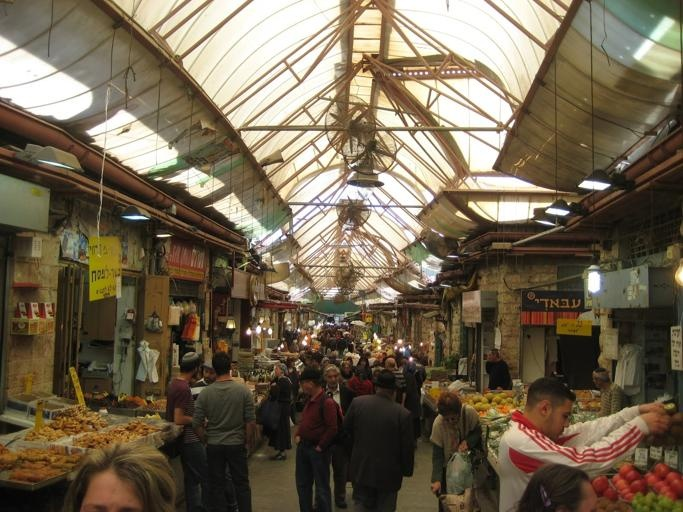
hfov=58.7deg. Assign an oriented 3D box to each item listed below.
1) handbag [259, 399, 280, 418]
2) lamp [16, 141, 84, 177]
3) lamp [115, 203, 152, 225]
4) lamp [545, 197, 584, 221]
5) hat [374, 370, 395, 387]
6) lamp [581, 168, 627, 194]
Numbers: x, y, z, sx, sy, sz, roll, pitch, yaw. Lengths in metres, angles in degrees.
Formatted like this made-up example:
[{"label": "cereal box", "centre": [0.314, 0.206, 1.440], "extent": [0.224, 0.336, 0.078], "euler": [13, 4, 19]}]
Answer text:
[{"label": "handbag", "centre": [-1.172, 2.531, 10.078], "extent": [0.321, 0.442, 0.241], "euler": [4, -22, -5]}, {"label": "lamp", "centre": [-2.993, -0.980, 6.147], "extent": [0.534, 0.211, 0.323], "euler": [3, -4, 21]}, {"label": "lamp", "centre": [-2.586, -0.518, 7.700], "extent": [0.286, 0.149, 0.431], "euler": [1, -7, 6]}, {"label": "lamp", "centre": [2.920, -0.604, 7.895], "extent": [0.372, 0.141, 0.279], "euler": [9, -14, -24]}, {"label": "hat", "centre": [0.484, 1.333, 6.583], "extent": [0.228, 0.197, 0.161], "euler": [2, -12, -5]}, {"label": "lamp", "centre": [2.863, -0.795, 6.570], "extent": [0.402, 0.145, 0.316], "euler": [5, -10, -15]}]
